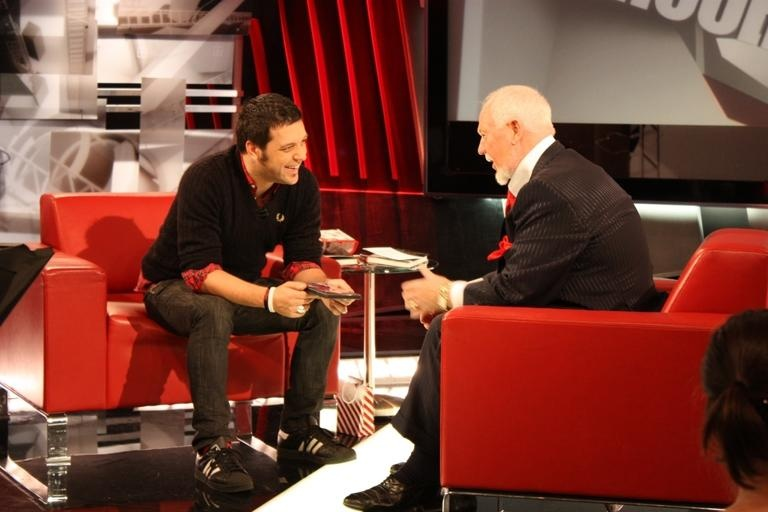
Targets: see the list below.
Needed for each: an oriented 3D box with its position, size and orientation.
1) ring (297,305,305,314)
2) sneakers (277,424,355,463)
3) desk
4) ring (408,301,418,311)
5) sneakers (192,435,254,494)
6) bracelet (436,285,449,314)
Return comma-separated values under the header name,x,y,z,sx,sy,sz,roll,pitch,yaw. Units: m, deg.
name,x,y,z,sx,sy,sz,roll,pitch,yaw
ring,-0.322,0.215,2.595,0.033,0.032,0.007,3,2,-31
sneakers,-0.305,0.810,2.845,0.371,0.170,0.170,-1,-5,19
desk,-0.083,0.374,3.209,0.528,0.634,0.553,-5,-14,24
ring,0.105,0.187,2.446,0.029,0.030,0.011,12,14,31
sneakers,-0.634,0.823,2.549,0.137,0.156,0.374,5,-3,-35
bracelet,0.215,0.158,2.386,0.021,0.073,0.073,0,-16,-7
